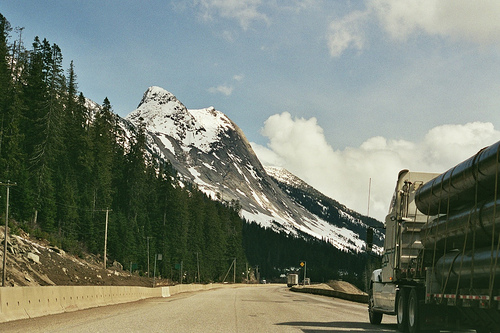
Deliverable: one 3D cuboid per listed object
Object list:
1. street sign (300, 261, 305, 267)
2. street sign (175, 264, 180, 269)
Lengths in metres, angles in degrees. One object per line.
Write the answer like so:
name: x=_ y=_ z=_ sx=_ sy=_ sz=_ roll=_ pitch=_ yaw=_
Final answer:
street sign: x=9.015 y=16.761 z=135.870 sx=0.594 sy=0.835 sz=1.751 roll=-2 pitch=-22 yaw=4
street sign: x=-13.435 y=18.322 z=145.772 sx=0.835 sy=0.889 sz=0.646 roll=7 pitch=-20 yaw=-18
